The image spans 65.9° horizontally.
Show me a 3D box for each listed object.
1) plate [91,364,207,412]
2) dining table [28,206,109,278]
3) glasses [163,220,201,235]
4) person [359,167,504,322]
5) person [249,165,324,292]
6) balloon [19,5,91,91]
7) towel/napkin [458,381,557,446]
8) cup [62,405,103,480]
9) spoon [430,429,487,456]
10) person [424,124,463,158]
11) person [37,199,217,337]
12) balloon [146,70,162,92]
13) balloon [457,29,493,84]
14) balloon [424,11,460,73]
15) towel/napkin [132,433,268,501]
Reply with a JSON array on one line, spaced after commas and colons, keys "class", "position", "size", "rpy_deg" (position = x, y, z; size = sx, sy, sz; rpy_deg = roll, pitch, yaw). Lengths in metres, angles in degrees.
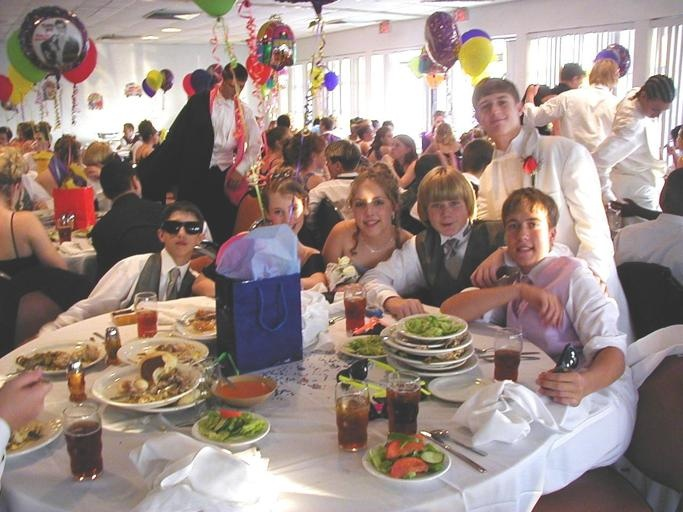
[{"class": "plate", "position": [-0.620, 0.426, 1.705], "size": [0.202, 0.048, 0.200], "rpy_deg": [-13, 22, -40]}, {"class": "dining table", "position": [-2.078, -0.057, 4.046], "size": [0.706, 0.255, 0.760], "rpy_deg": [-8, 27, -20]}, {"class": "glasses", "position": [-0.820, -0.152, 2.679], "size": [0.103, 0.034, 0.104], "rpy_deg": [5, -23, -21]}, {"class": "person", "position": [0.472, -0.052, 2.812], "size": [0.714, 0.641, 0.419], "rpy_deg": [-7, 21, 6]}, {"class": "person", "position": [-0.299, -0.209, 3.110], "size": [0.404, 0.596, 0.898], "rpy_deg": [1, 11, -4]}, {"class": "balloon", "position": [-2.622, -1.913, 4.819], "size": [0.605, 0.611, 0.201], "rpy_deg": [-11, 19, -23]}, {"class": "towel/napkin", "position": [0.469, 0.461, 1.561], "size": [0.175, 0.078, 0.224], "rpy_deg": [-17, 28, -13]}, {"class": "cup", "position": [-0.725, 0.506, 1.481], "size": [0.096, 0.161, 0.197], "rpy_deg": [-4, 12, -26]}, {"class": "spoon", "position": [0.336, 0.516, 1.517], "size": [0.055, 0.007, 0.138], "rpy_deg": [-3, 10, -36]}, {"class": "person", "position": [1.309, -1.440, 6.539], "size": [0.313, 0.404, 0.810], "rpy_deg": [4, 11, 12]}, {"class": "person", "position": [-1.198, 0.070, 2.902], "size": [0.886, 0.570, 0.339], "rpy_deg": [6, 34, -49]}, {"class": "balloon", "position": [-3.987, -3.773, 11.245], "size": [0.333, 0.369, 0.478], "rpy_deg": [-2, 12, -18]}, {"class": "balloon", "position": [1.398, -2.093, 5.507], "size": [0.352, 0.469, 0.446], "rpy_deg": [2, 2, 16]}, {"class": "balloon", "position": [1.071, -2.328, 5.602], "size": [0.372, 0.551, 0.416], "rpy_deg": [3, 11, 9]}, {"class": "towel/napkin", "position": [-0.367, 0.536, 1.359], "size": [0.223, 0.081, 0.171], "rpy_deg": [1, 15, -5]}]
